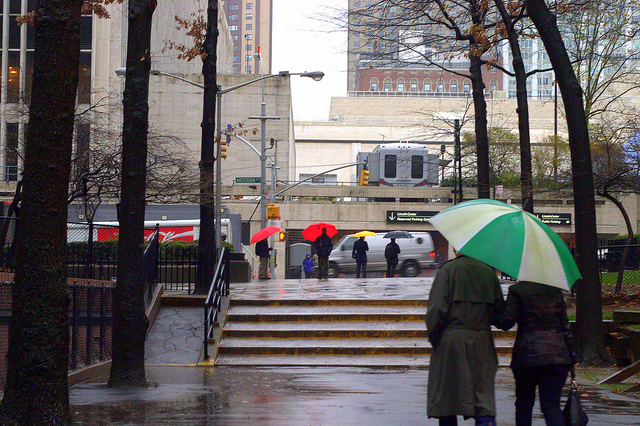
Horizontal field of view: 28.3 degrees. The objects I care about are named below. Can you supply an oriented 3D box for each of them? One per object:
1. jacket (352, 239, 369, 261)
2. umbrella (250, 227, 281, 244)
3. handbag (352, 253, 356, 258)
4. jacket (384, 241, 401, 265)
[{"bbox_3d":[1.685,1.497,53.307,0.608,0.886,0.438,-1,-2,1],"label":"jacket"},{"bbox_3d":[-2.300,0.803,51.846,0.909,0.596,1.760,-1,-2,0],"label":"umbrella"},{"bbox_3d":[1.406,1.720,53.204,0.158,0.133,0.042,-1,4,-43],"label":"handbag"},{"bbox_3d":[3.066,1.625,54.017,0.565,0.949,0.643,-1,-2,1],"label":"jacket"}]
